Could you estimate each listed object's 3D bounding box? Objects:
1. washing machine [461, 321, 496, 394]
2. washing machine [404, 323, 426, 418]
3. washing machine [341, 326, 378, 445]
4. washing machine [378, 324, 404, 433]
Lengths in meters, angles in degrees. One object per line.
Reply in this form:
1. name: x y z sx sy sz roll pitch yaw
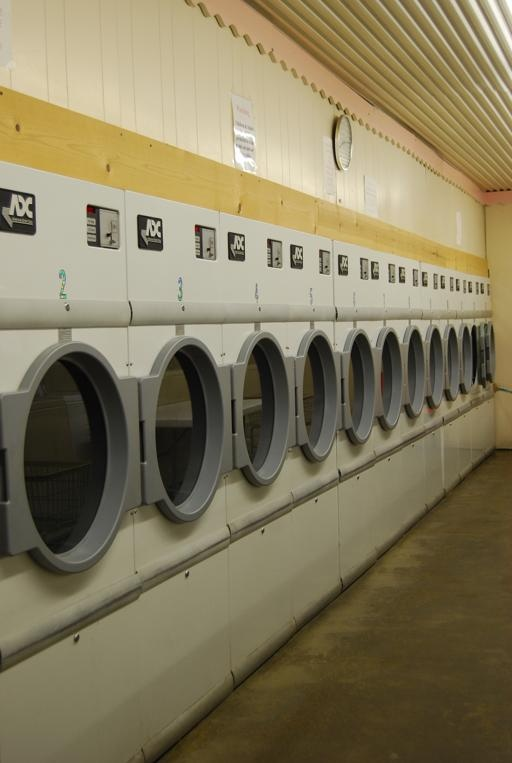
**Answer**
1. washing machine: 3.452 -0.373 7.436 0.537 1.621 0.847 0 1 23
2. washing machine: 1.673 -0.082 5.012 0.176 0.948 0.687 -2 -4 25
3. washing machine: 0.822 0.056 3.737 0.233 0.891 0.749 -1 -4 15
4. washing machine: 1.246 -0.004 4.389 0.211 0.912 0.610 -1 -4 18
